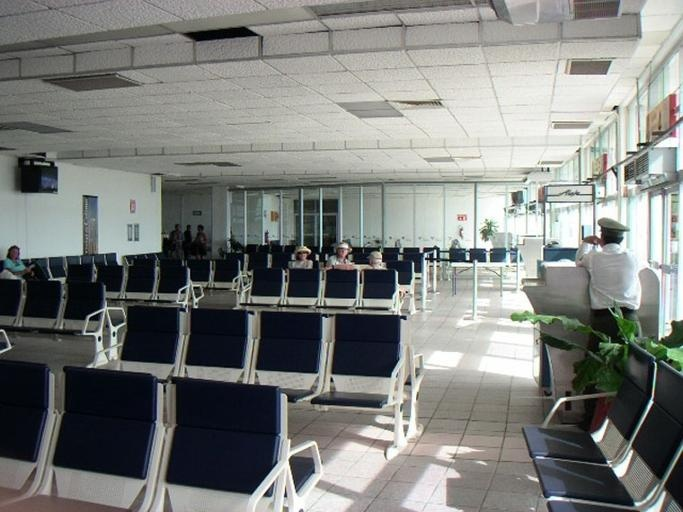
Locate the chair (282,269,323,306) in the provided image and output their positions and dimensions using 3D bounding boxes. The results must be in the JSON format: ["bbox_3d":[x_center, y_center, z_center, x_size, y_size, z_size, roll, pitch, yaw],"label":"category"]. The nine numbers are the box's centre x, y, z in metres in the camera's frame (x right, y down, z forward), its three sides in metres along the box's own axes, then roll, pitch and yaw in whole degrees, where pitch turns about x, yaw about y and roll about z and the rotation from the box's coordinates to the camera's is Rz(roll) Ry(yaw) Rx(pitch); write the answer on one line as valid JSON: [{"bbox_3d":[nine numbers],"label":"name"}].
[{"bbox_3d":[-0.596,0.521,8.852,0.741,0.694,0.553,2,0,13],"label":"chair"}]

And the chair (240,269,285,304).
[{"bbox_3d":[-1.297,0.578,8.763,0.705,0.614,0.580,0,7,10],"label":"chair"}]

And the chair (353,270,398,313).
[{"bbox_3d":[0.594,0.547,8.435,0.635,0.631,0.542,1,5,10],"label":"chair"}]

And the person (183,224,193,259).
[{"bbox_3d":[-6.780,-0.623,23.173,0.346,1.377,0.940,-1,5,-17],"label":"person"}]

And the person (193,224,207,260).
[{"bbox_3d":[-6.025,-0.622,22.408,0.493,1.391,1.940,-2,5,-19],"label":"person"}]

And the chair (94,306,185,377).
[{"bbox_3d":[-1.747,0.714,4.885,0.693,0.631,0.733,3,3,15],"label":"chair"}]

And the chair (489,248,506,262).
[{"bbox_3d":[3.899,-0.022,13.140,0.330,0.326,0.394,1,-10,9],"label":"chair"}]

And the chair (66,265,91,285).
[{"bbox_3d":[-4.529,0.324,9.110,0.292,0.390,0.335,1,-5,-3],"label":"chair"}]

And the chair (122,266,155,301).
[{"bbox_3d":[-3.580,0.449,9.321,0.612,0.676,0.616,2,8,-41],"label":"chair"}]

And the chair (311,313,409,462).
[{"bbox_3d":[0.153,1.019,4.258,0.829,0.990,0.711,0,-4,20],"label":"chair"}]

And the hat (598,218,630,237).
[{"bbox_3d":[2.596,-0.294,5.089,0.208,0.078,0.218,10,3,-4],"label":"hat"}]

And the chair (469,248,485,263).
[{"bbox_3d":[3.355,-0.015,13.006,0.402,0.271,0.279,0,-6,6],"label":"chair"}]

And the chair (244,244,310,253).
[{"bbox_3d":[-2.264,-0.246,17.661,1.984,0.389,0.419,2,5,17],"label":"chair"}]

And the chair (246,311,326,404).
[{"bbox_3d":[-0.398,0.857,4.787,0.829,0.758,0.631,2,-2,12],"label":"chair"}]

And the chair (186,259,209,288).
[{"bbox_3d":[-2.931,0.337,10.495,0.477,0.617,0.547,-1,-1,3],"label":"chair"}]

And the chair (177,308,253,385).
[{"bbox_3d":[-1.041,0.783,4.822,0.666,0.593,0.471,2,-5,8],"label":"chair"}]

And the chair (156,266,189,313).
[{"bbox_3d":[-2.935,0.524,8.867,0.631,0.611,0.529,4,13,10],"label":"chair"}]

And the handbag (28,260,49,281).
[{"bbox_3d":[-6.742,0.325,11.688,0.090,0.326,0.360,-30,-18,32],"label":"handbag"}]

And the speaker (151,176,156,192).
[{"bbox_3d":[-6.434,-2.474,18.044,0.154,0.518,0.126,-2,5,-19],"label":"speaker"}]

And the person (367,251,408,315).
[{"bbox_3d":[0.662,0.420,8.899,0.924,1.201,1.024,2,-4,1],"label":"person"}]

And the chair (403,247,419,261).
[{"bbox_3d":[1.863,-0.061,14.084,0.352,0.342,0.365,-1,12,10],"label":"chair"}]

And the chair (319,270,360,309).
[{"bbox_3d":[-0.008,0.586,8.588,0.802,0.697,0.800,1,8,-11],"label":"chair"}]

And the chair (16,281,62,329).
[{"bbox_3d":[-3.965,0.694,7.190,0.580,0.682,0.677,4,-5,4],"label":"chair"}]
